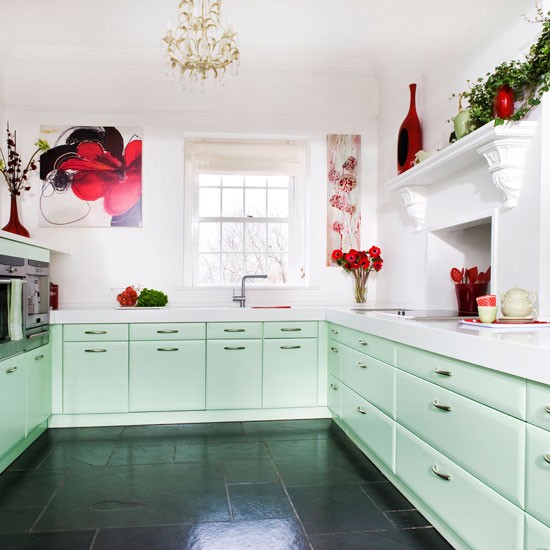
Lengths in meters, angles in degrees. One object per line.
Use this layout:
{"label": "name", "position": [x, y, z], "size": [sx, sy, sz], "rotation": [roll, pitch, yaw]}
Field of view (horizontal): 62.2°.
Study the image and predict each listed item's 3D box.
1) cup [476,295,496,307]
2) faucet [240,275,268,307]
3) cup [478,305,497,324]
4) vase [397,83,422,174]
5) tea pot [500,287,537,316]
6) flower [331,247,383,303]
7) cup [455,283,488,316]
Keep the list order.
{"label": "cup", "position": [0.844, 0.100, 1.802], "size": [0.062, 0.042, 0.105], "rotation": [-1, -2, 29]}
{"label": "faucet", "position": [-0.183, 0.131, 3.745], "size": [0.216, 0.265, 0.623], "rotation": [0, -2, -2]}
{"label": "cup", "position": [0.839, 0.155, 1.788], "size": [0.062, 0.066, 0.079], "rotation": [-1, -2, 24]}
{"label": "vase", "position": [0.961, -1.047, 3.191], "size": [0.157, 0.659, 0.439], "rotation": [0, -2, 7]}
{"label": "tea pot", "position": [0.970, 0.104, 1.820], "size": [0.132, 0.115, 0.105], "rotation": [1, 0, 24]}
{"label": "flower", "position": [0.701, -0.003, 3.809], "size": [0.404, 0.476, 0.423], "rotation": [0, -2, 14]}
{"label": "cup", "position": [1.096, 0.139, 2.617], "size": [0.171, 0.207, 0.175], "rotation": [0, -3, 0]}
